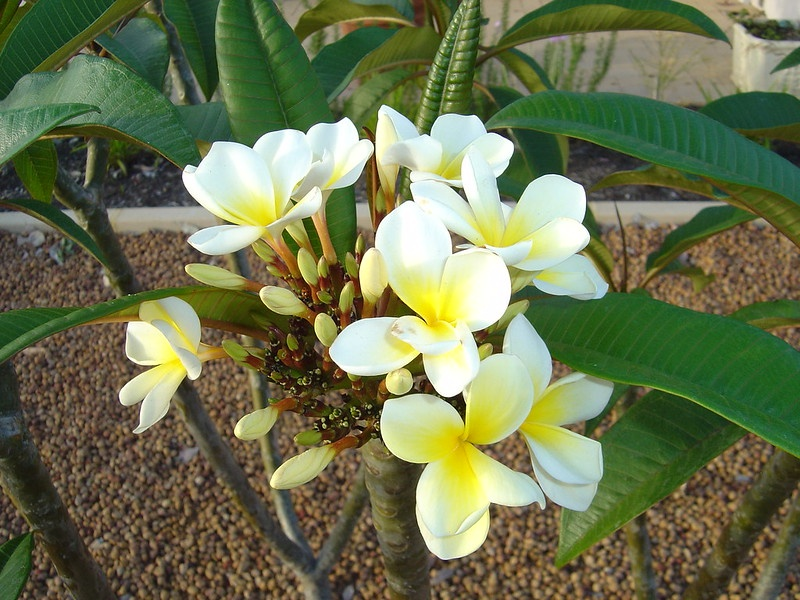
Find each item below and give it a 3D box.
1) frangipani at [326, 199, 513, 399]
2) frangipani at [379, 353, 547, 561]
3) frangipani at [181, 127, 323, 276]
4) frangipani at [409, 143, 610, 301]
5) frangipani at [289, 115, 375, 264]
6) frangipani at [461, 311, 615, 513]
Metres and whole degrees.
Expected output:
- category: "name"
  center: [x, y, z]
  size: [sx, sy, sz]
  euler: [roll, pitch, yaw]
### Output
- category: "frangipani"
  center: [0.072, 0.006, 1.447]
  size: [0.332, 0.360, 0.154]
  euler: [32, 11, 26]
- category: "frangipani"
  center: [0.121, 0.268, 1.437]
  size: [0.359, 0.346, 0.148]
  euler: [8, 12, -35]
- category: "frangipani"
  center: [-0.301, -0.197, 1.602]
  size: [0.358, 0.166, 0.332]
  euler: [20, -3, 17]
- category: "frangipani"
  center: [0.235, -0.127, 1.534]
  size: [0.307, 0.156, 0.315]
  euler: [-6, 56, -22]
- category: "frangipani"
  center: [-0.102, -0.246, 1.672]
  size: [0.225, 0.256, 0.259]
  euler: [-3, 54, 0]
- category: "frangipani"
  center: [0.302, 0.234, 1.521]
  size: [0.095, 0.350, 0.299]
  euler: [-12, 10, 42]
